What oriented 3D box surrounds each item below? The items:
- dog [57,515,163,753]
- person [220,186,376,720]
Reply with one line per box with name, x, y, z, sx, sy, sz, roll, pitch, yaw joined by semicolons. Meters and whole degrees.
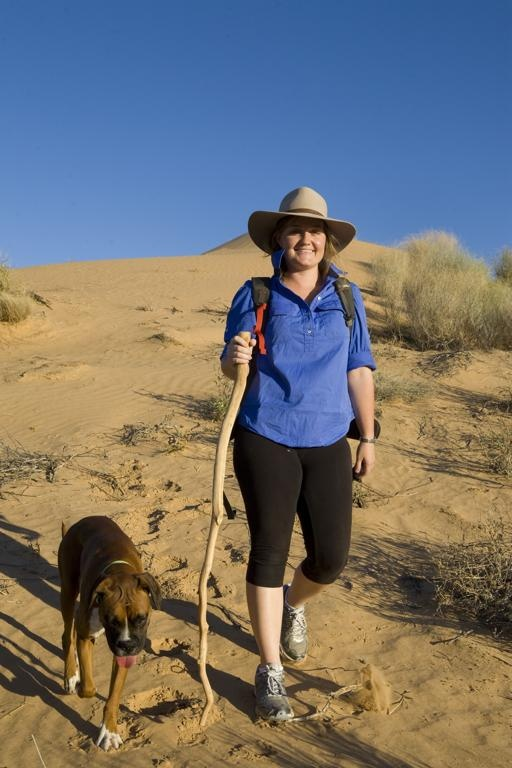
dog;-0.761;1.236;3.333;0.432;0.876;1.030;-4;12;-19
person;0.193;0.337;3.224;0.716;2.548;0.931;3;12;15
